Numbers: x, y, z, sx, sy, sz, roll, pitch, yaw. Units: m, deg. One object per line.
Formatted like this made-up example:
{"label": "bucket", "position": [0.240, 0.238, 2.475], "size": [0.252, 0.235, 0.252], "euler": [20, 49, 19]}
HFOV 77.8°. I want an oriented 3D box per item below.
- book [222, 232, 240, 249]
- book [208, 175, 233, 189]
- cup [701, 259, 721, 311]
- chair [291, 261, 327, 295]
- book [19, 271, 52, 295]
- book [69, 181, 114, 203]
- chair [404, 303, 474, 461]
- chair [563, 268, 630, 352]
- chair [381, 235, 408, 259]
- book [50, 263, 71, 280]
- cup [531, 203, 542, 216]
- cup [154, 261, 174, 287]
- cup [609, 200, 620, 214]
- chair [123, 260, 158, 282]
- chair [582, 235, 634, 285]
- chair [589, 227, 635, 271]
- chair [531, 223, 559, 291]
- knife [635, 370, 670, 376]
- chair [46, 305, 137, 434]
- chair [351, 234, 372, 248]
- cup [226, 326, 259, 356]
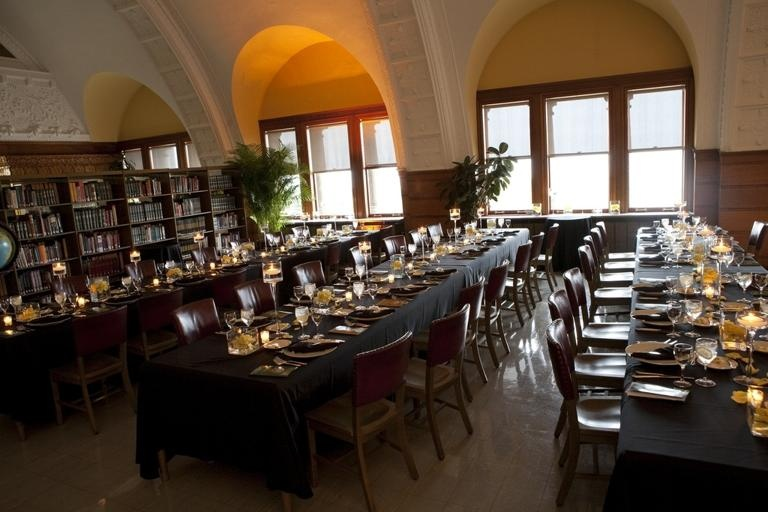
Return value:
{"label": "book", "position": [-3.186, -0.306, 9.865], "size": [0.306, 0.410, 0.422], "euler": [2, 7, 16]}
{"label": "book", "position": [-3.647, -1.619, 10.564], "size": [0.122, 0.359, 0.385], "euler": [-1, 3, 31]}
{"label": "cup", "position": [3.000, 0.231, 4.390], "size": [0.166, 0.403, 0.168], "euler": [-11, 18, 4]}
{"label": "chair", "position": [-0.913, 0.277, 5.888], "size": [0.350, 0.443, 0.363], "euler": [-6, -5, 17]}
{"label": "book", "position": [-5.505, 0.424, 7.519], "size": [0.149, 0.351, 0.363], "euler": [2, 4, 24]}
{"label": "book", "position": [-4.958, -1.090, 8.112], "size": [0.137, 0.337, 0.733], "euler": [-1, 9, 17]}
{"label": "chair", "position": [0.465, 1.063, 4.284], "size": [0.730, 1.015, 0.770], "euler": [-9, 3, 18]}
{"label": "chair", "position": [2.247, 0.571, 5.075], "size": [0.735, 1.053, 0.608], "euler": [-2, 21, 20]}
{"label": "chair", "position": [0.197, -0.140, 7.590], "size": [0.367, 0.455, 0.322], "euler": [4, 7, 44]}
{"label": "book", "position": [-4.655, 0.231, 6.855], "size": [0.245, 0.287, 0.249], "euler": [-1, 4, 3]}
{"label": "cup", "position": [3.146, -0.940, 9.869], "size": [0.209, 0.402, 0.213], "euler": [0, 8, 0]}
{"label": "cup", "position": [-2.994, 0.261, 6.504], "size": [0.265, 0.259, 0.263], "euler": [1, 8, 0]}
{"label": "cup", "position": [4.505, -0.956, 9.398], "size": [0.188, 0.251, 0.169], "euler": [-1, 9, 22]}
{"label": "chair", "position": [-3.464, 0.221, 6.822], "size": [0.248, 0.423, 0.238], "euler": [4, 8, 32]}
{"label": "chair", "position": [3.183, 0.074, 6.835], "size": [0.566, 1.004, 0.565], "euler": [-3, 20, 16]}
{"label": "chair", "position": [3.348, 0.082, 6.936], "size": [0.619, 0.840, 0.506], "euler": [-2, 5, 27]}
{"label": "chair", "position": [2.511, 0.027, 7.892], "size": [0.703, 1.002, 0.696], "euler": [-3, 7, 7]}
{"label": "knife", "position": [1.759, 0.784, 3.157], "size": [0.192, 0.016, 0.065], "euler": [-4, 19, 13]}
{"label": "chair", "position": [-2.985, 1.135, 4.857], "size": [0.758, 1.168, 0.501], "euler": [0, 10, 26]}
{"label": "chair", "position": [-0.452, -0.301, 9.060], "size": [0.330, 0.231, 0.335], "euler": [1, 11, 10]}
{"label": "cup", "position": [-1.198, 0.717, 4.044], "size": [0.248, 0.225, 0.247], "euler": [1, 0, 0]}
